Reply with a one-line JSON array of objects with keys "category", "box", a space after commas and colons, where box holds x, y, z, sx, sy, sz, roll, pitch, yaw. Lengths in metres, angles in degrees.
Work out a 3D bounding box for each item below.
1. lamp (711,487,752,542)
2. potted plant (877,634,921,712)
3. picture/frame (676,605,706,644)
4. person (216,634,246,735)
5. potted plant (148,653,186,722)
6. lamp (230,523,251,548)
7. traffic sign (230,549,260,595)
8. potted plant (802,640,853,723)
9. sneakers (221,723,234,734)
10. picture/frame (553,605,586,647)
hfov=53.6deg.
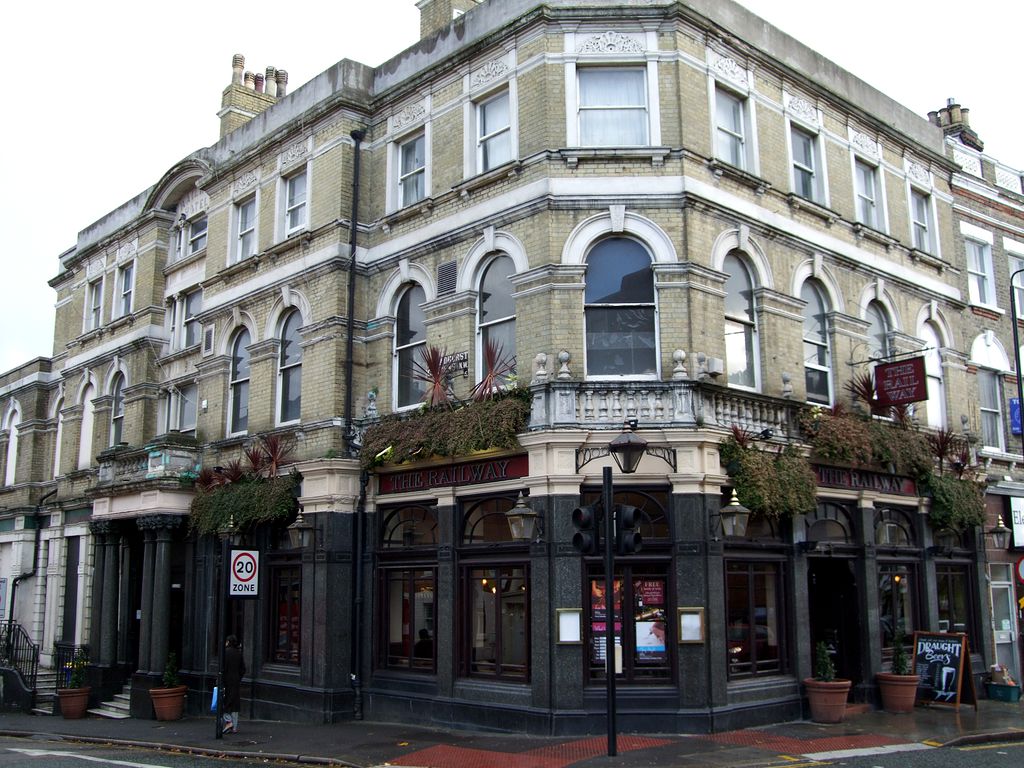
[{"category": "lamp", "box": [4.573, 2.598, 21.248, 0.656, 1.143, 1.481, -5, -17, 10]}, {"category": "potted plant", "box": [9.063, 6.804, 23.916, 0.904, 1.629, 1.174, -8, -17, 20]}, {"category": "picture/frame", "box": [3.656, 4.912, 20.754, 0.709, 0.926, 0.127, 1, -12, 5]}, {"category": "person", "box": [-6.365, 6.730, 22.823, 0.511, 2.219, 1.523, 3, -17, -16]}, {"category": "potted plant", "box": [-9.141, 7.971, 26.811, 0.852, 1.709, 0.840, 0, -16, -7]}, {"category": "lamp", "box": [-7.113, 3.985, 26.625, 0.540, 0.577, 0.947, 2, -17, -15]}, {"category": "traffic sign", "box": [-5.938, 4.128, 22.376, 0.871, 1.270, 0.117, 10, -22, -37]}, {"category": "potted plant", "box": [7.126, 6.621, 22.645, 0.905, 1.680, 1.580, -13, -20, 35]}, {"category": "sneakers", "box": [-6.425, 7.703, 22.815, 0.289, 0.220, 0.108, -6, -11, 18]}, {"category": "picture/frame", "box": [1.148, 4.937, 20.830, 0.504, 0.732, 0.157, -1, -16, -2]}]
